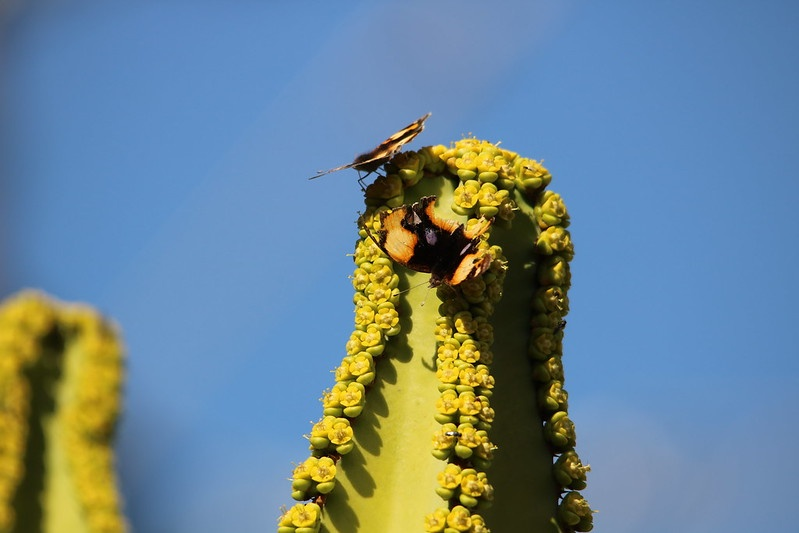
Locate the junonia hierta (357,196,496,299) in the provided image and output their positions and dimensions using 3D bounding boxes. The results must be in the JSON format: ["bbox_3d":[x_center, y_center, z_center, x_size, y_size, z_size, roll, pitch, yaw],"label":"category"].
[{"bbox_3d":[0.568,-0.491,23.602,1.881,1.089,0.967,21,-50,14],"label":"junonia hierta"}]
